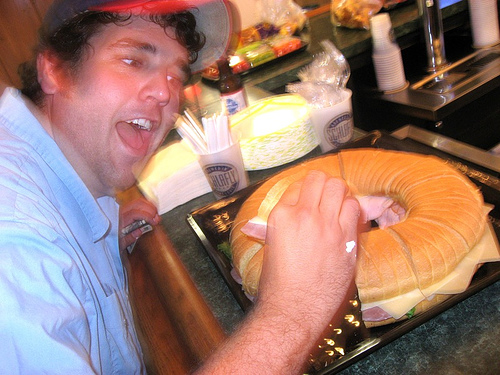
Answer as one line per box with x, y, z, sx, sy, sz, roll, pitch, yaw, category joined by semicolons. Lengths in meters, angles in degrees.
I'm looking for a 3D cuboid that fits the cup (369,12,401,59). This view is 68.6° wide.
0.498;-0.566;1.372;0.097;0.156;0.084;-8;28;20;cup

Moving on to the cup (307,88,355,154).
0.258;-0.195;1.140;0.135;0.185;0.121;-23;32;-8;cup

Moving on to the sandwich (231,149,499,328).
0.226;0.080;0.834;0.550;0.178;0.449;-21;26;-7;sandwich

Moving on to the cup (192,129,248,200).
-0.063;-0.061;1.126;0.174;0.190;0.174;-9;33;6;cup

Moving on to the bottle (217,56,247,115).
-0.074;-0.366;1.329;0.083;0.287;0.082;-6;50;7;bottle

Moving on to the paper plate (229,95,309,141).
0.067;-0.222;1.180;0.194;0.117;0.174;-15;29;-33;paper plate

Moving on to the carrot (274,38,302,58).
0.183;-0.677;1.768;0.092;0.025;0.093;-7;21;48;carrot
